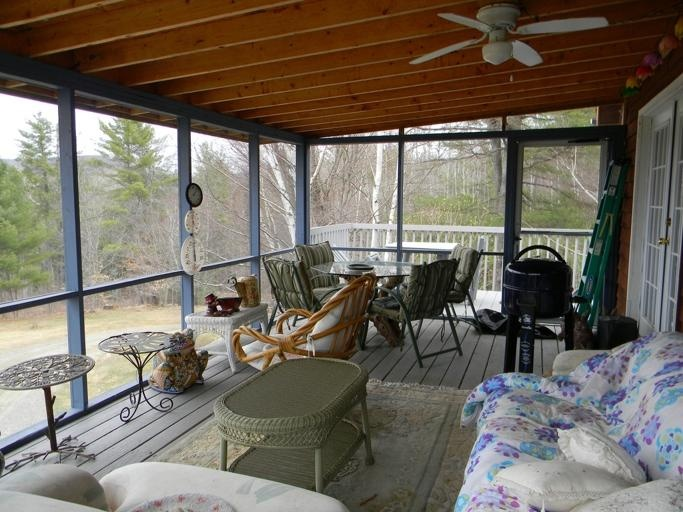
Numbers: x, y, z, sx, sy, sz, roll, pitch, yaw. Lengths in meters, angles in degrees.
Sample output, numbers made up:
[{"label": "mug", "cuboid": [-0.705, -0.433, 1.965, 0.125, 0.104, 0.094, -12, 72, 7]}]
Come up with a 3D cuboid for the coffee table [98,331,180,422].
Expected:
[{"label": "coffee table", "cuboid": [-1.567, 0.967, 3.850, 0.684, 0.571, 0.619, -2, -22, -13]}]

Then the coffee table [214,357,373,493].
[{"label": "coffee table", "cuboid": [-0.242, 0.928, 2.812, 0.726, 0.524, 0.958, 3, 8, 25]}]

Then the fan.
[{"label": "fan", "cuboid": [1.065, -1.465, 3.230, 0.904, 0.185, 0.810, -1, -2, 15]}]

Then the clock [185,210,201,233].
[{"label": "clock", "cuboid": [-1.537, -0.356, 5.020, 0.151, 0.245, 0.148, -4, 12, -16]}]

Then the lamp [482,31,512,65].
[{"label": "lamp", "cuboid": [1.031, -1.392, 3.201, 0.174, 0.201, 0.150, 3, 12, 18]}]

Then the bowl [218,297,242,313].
[{"label": "bowl", "cuboid": [-1.068, 0.482, 4.744, 0.209, 0.108, 0.152, 1, -2, 11]}]

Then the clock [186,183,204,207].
[{"label": "clock", "cuboid": [-1.519, -0.632, 5.040, 0.101, 0.246, 0.275, 2, 11, 13]}]

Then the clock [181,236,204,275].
[{"label": "clock", "cuboid": [-1.519, -0.008, 4.990, 0.145, 0.400, 0.296, 3, 12, 16]}]
